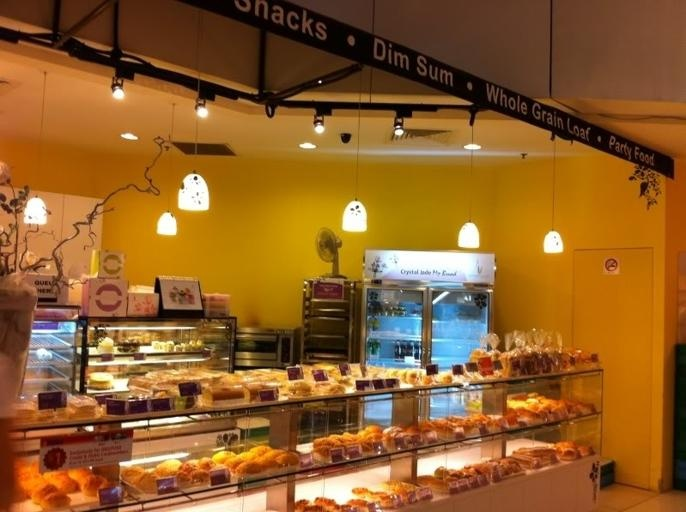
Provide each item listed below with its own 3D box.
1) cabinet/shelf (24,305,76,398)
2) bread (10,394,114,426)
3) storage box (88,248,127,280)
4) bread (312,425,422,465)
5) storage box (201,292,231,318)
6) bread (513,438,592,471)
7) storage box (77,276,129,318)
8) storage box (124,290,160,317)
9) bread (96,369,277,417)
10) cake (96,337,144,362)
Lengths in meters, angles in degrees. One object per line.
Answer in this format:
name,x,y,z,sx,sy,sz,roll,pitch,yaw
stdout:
cabinet/shelf,-2.806,0.823,5.464,0.479,0.856,0.520,9,19,-19
bread,-1.609,0.889,3.280,0.457,0.117,0.304,3,-5,-25
storage box,-2.303,0.104,5.653,0.297,0.327,0.297,2,-5,-30
bread,0.161,1.373,4.186,0.560,0.095,0.287,-2,3,-35
storage box,-1.350,0.533,6.172,0.201,0.253,0.242,-3,-3,35
bread,1.943,1.857,5.297,0.571,0.104,0.325,-2,1,-28
storage box,-2.235,0.391,5.407,0.370,0.406,0.374,2,-4,-30
storage box,-1.967,0.479,5.656,0.239,0.197,0.241,3,-2,-30
bread,-0.966,0.889,3.812,1.168,0.162,0.663,3,-5,-25
cake,-2.140,0.909,5.473,0.311,0.123,0.218,3,1,-34
